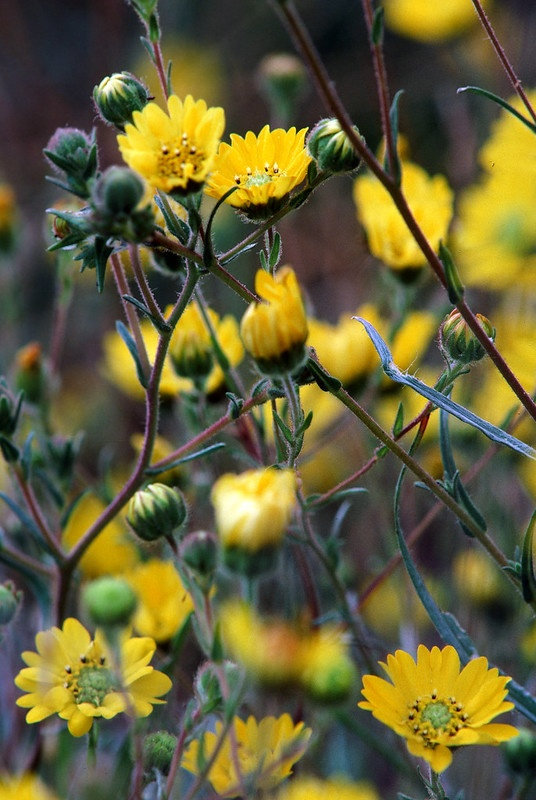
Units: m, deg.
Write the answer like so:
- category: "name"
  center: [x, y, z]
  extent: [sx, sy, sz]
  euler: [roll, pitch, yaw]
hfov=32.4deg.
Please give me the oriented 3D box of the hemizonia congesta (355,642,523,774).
- category: "hemizonia congesta"
  center: [0.115, 0.213, 0.623]
  extent: [0.097, 0.043, 0.098]
  euler: [-21, 20, -26]

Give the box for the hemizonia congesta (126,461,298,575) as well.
- category: "hemizonia congesta"
  center: [-0.037, 0.076, 0.603]
  extent: [0.098, 0.057, 0.060]
  euler: [-6, 1, 38]

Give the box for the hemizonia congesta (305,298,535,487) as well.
- category: "hemizonia congesta"
  center: [0.105, -0.002, 0.695]
  extent: [0.140, 0.142, 0.188]
  euler: [-12, 13, 2]

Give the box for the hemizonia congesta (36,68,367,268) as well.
- category: "hemizonia congesta"
  center: [-0.067, -0.170, 0.670]
  extent: [0.232, 0.143, 0.185]
  euler: [-22, 16, -35]
